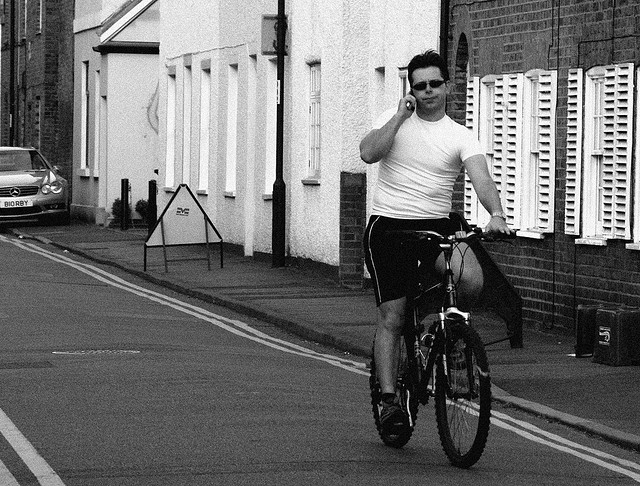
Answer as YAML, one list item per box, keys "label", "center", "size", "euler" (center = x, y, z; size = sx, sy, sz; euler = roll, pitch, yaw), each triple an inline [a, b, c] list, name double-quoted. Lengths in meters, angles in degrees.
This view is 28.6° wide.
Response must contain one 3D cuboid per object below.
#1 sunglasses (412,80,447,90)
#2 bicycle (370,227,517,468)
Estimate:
- label: "sunglasses"
  center: [0.745, -1.085, 8.618]
  size: [0.214, 0.071, 0.052]
  euler: [3, 4, 5]
- label: "bicycle"
  center: [0.757, 0.777, 8.628]
  size: [0.440, 1.510, 1.219]
  euler: [0, 4, -28]
